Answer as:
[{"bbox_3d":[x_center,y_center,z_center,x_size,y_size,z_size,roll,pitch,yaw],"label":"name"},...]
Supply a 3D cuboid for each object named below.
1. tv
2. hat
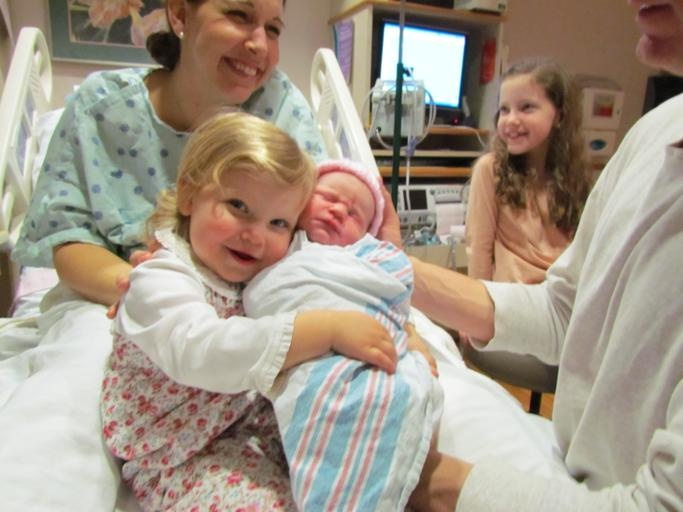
[{"bbox_3d":[0.511,-1.270,3.756,0.669,0.659,0.161,-6,20,-28],"label":"tv"},{"bbox_3d":[0.053,-0.157,1.673,0.181,0.236,0.062,9,-1,-13],"label":"hat"}]
